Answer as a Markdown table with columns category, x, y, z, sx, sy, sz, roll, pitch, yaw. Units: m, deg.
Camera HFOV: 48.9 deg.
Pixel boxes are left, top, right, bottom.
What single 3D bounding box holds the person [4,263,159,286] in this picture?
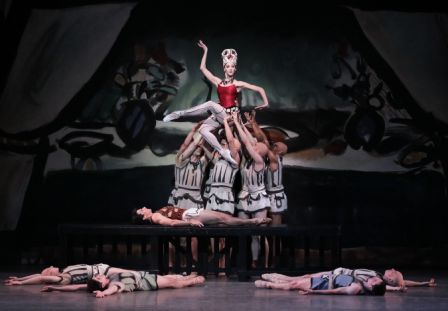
| category | x | y | z | sx | sy | sz | roll | pitch | yaw |
| --- | --- | --- | --- | --- | --- | --- | --- | --- | --- |
| person | -1.971 | 1.618 | 6.720 | 1.885 | 0.318 | 0.595 | 0 | -14 | 1 |

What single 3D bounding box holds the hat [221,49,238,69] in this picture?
| category | x | y | z | sx | sy | sz | roll | pitch | yaw |
| --- | --- | --- | --- | --- | --- | --- | --- | --- | --- |
| hat | 0.088 | -1.574 | 8.050 | 0.253 | 0.283 | 0.308 | -1 | -6 | -2 |

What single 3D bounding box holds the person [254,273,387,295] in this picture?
| category | x | y | z | sx | sy | sz | roll | pitch | yaw |
| --- | --- | --- | --- | --- | --- | --- | --- | --- | --- |
| person | 1.339 | 1.684 | 6.405 | 1.131 | 0.219 | 0.507 | -5 | -16 | 12 |
